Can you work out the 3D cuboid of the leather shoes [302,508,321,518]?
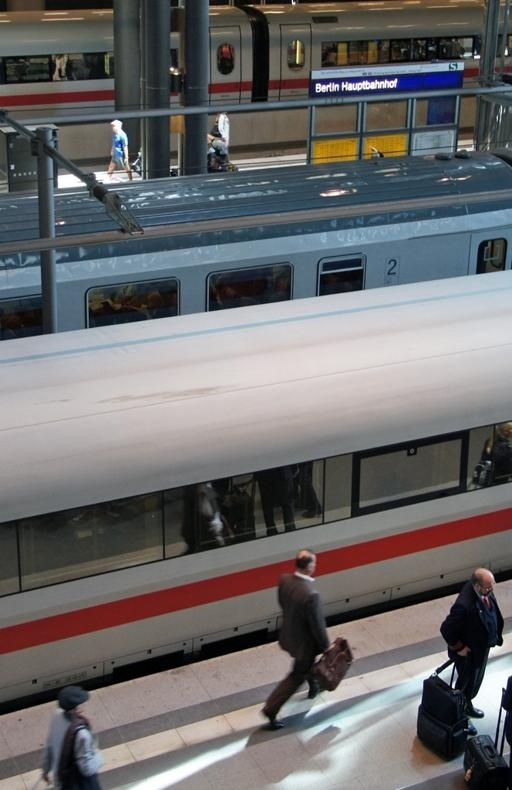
[{"bbox_3d":[0.472,0.982,5.727,0.125,0.032,0.077,-4,0,-33],"label":"leather shoes"}]

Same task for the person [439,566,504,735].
[{"bbox_3d":[1.523,1.846,4.818,0.409,1.349,0.577,13,45,28],"label":"person"}]

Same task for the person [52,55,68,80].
[{"bbox_3d":[-5.698,-9.561,19.983,0.437,0.711,0.228,-5,9,-35],"label":"person"}]

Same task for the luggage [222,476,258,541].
[{"bbox_3d":[-0.114,0.950,5.450,0.122,0.417,0.223,-10,-7,29],"label":"luggage"}]

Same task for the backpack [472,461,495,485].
[{"bbox_3d":[2.166,0.731,6.536,0.175,0.247,0.137,11,16,-16],"label":"backpack"}]
